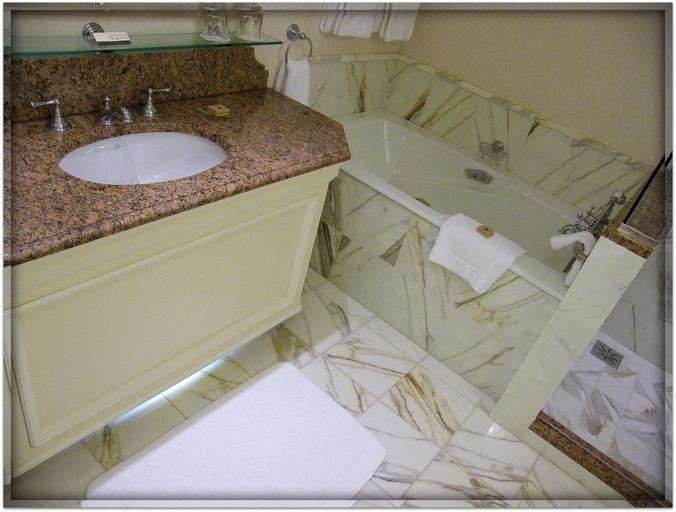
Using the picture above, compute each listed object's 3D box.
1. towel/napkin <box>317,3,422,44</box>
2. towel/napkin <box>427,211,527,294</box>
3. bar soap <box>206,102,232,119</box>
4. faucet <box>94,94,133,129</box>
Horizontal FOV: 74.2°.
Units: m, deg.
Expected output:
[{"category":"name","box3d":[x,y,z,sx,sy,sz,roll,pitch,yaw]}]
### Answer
[{"category":"towel/napkin","box3d":[0.180,-1.329,2.527,0.661,0.195,0.111,-20,46,-33]},{"category":"towel/napkin","box3d":[0.607,-0.005,2.036,0.363,0.110,0.331,36,84,24]},{"category":"bar soap","box3d":[-0.509,-0.629,1.911,0.094,0.024,0.145,-8,41,-21]},{"category":"faucet","box3d":[-0.862,-0.567,1.718,0.122,0.088,0.148,-13,42,-26]}]
